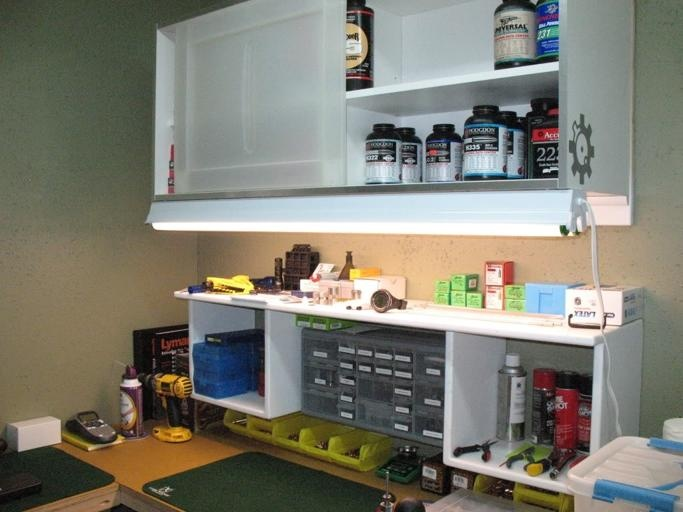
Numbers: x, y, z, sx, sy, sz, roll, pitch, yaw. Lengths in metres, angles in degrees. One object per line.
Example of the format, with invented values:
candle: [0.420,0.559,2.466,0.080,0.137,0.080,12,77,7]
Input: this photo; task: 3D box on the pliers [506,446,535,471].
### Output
pliers: [0.623,0.685,2.014,0.087,0.038,0.176,4,13,23]
